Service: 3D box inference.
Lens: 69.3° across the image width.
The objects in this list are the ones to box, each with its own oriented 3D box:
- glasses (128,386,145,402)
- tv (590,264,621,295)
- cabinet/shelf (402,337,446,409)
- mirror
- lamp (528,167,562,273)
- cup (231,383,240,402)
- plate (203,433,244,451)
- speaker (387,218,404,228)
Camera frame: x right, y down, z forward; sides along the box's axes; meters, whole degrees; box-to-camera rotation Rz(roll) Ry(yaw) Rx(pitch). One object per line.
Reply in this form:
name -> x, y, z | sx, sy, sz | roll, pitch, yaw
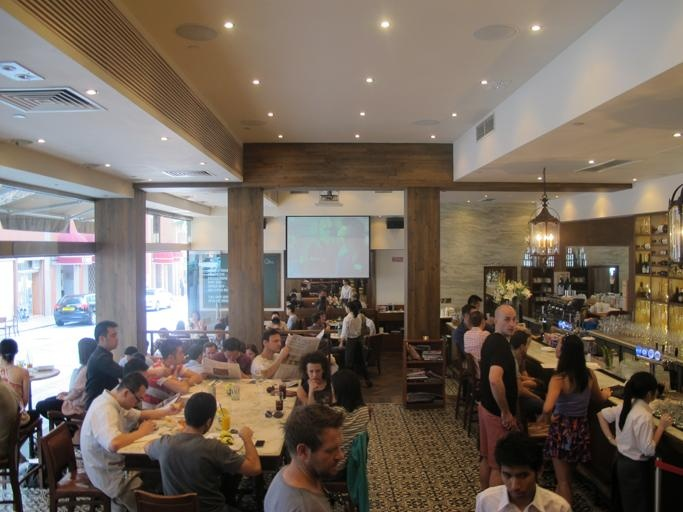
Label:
glasses -> -1.874, 1.273, 4.550 | 0.105, 0.072, 0.130 | 2, 2, -42
tv -> 6.078, 0.522, 11.307 | 0.571, 0.873, 0.537 | 0, -2, -8
cabinet/shelf -> 1.334, 1.862, 7.852 | 0.663, 1.048, 0.360 | -1, -4, 8
mirror -> 5.585, 0.449, 10.698 | 0.445, 1.349, 1.390 | 3, -4, -40
lamp -> 3.349, -0.510, 8.225 | 0.413, 1.687, 3.808 | 1, 4, 21
cup -> -1.153, 1.479, 5.415 | 0.113, 0.195, 0.165 | -1, 0, -7
plate -> -0.993, 1.567, 4.166 | 0.237, 0.035, 0.246 | 10, -3, 17
speaker -> 1.392, -0.861, 12.845 | 0.455, 0.314, 0.255 | 0, 6, 3
